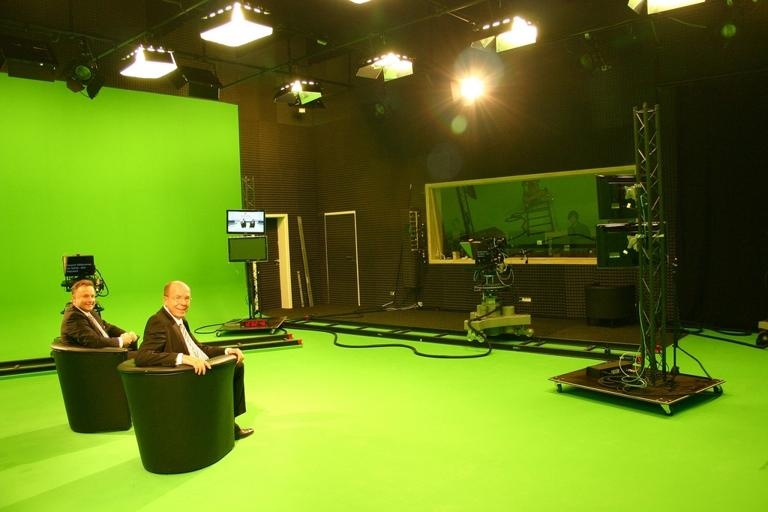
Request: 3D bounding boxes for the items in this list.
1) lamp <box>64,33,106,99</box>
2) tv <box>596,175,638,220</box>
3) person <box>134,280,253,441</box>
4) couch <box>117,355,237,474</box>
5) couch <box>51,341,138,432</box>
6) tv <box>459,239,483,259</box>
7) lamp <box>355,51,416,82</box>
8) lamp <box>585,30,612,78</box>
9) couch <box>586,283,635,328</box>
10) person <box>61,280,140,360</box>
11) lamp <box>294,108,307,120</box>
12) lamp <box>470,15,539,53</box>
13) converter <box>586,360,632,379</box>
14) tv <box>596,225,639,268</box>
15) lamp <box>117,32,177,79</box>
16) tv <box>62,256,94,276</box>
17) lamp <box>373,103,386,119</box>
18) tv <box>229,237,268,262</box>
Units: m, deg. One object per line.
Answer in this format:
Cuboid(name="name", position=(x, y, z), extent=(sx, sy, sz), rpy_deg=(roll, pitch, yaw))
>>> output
Cuboid(name="lamp", position=(-5.021, -3.142, 8.960), extent=(0.739, 0.979, 0.564), rpy_deg=(6, 5, 15))
Cuboid(name="tv", position=(2.825, -0.715, 6.405), extent=(0.588, 0.504, 0.312), rpy_deg=(-1, 1, 26))
Cuboid(name="person", position=(-1.982, 1.176, 5.690), extent=(1.266, 1.627, 1.154), rpy_deg=(2, 0, -24))
Cuboid(name="couch", position=(-2.119, 1.629, 5.735), extent=(1.284, 0.989, 1.148), rpy_deg=(0, 2, 3))
Cuboid(name="couch", position=(-3.403, 1.503, 6.495), extent=(1.083, 1.077, 0.996), rpy_deg=(-4, 20, -11))
Cuboid(name="tv", position=(1.801, -0.146, 11.073), extent=(0.474, 0.349, 0.418), rpy_deg=(-2, -3, -5))
Cuboid(name="lamp", position=(0.019, -3.206, 8.996), extent=(0.708, 0.375, 0.622), rpy_deg=(5, 14, 37))
Cuboid(name="lamp", position=(3.739, -3.566, 9.262), extent=(0.367, 0.585, 0.933), rpy_deg=(7, 15, 40))
Cuboid(name="couch", position=(4.121, 0.861, 9.564), extent=(0.820, 0.742, 0.804), rpy_deg=(1, 2, 39))
Cuboid(name="person", position=(-3.483, 0.800, 6.498), extent=(0.889, 0.823, 0.623), rpy_deg=(7, 6, -5))
Cuboid(name="lamp", position=(-2.161, -3.676, 13.761), extent=(0.186, 0.323, 0.377), rpy_deg=(2, 12, 25))
Cuboid(name="lamp", position=(1.672, -3.145, 7.567), extent=(0.624, 0.152, 0.695), rpy_deg=(-2, 10, 38))
Cuboid(name="converter", position=(2.887, 1.451, 6.799), extent=(0.590, 0.105, 0.195), rpy_deg=(-4, 6, -32))
Cuboid(name="tv", position=(2.822, -0.126, 6.634), extent=(0.572, 0.502, 0.540), rpy_deg=(0, 1, 9))
Cuboid(name="lamp", position=(-3.623, -3.010, 8.126), extent=(0.778, 0.423, 0.512), rpy_deg=(6, 14, 38))
Cuboid(name="tv", position=(-4.840, 0.159, 8.455), extent=(0.595, 0.387, 0.315), rpy_deg=(2, 0, -43))
Cuboid(name="lamp", position=(-0.092, -3.353, 12.147), extent=(0.194, 0.383, 0.397), rpy_deg=(-5, 12, -9))
Cuboid(name="tv", position=(-2.713, -0.134, 10.474), extent=(0.557, 0.340, 0.054), rpy_deg=(0, 0, -14))
